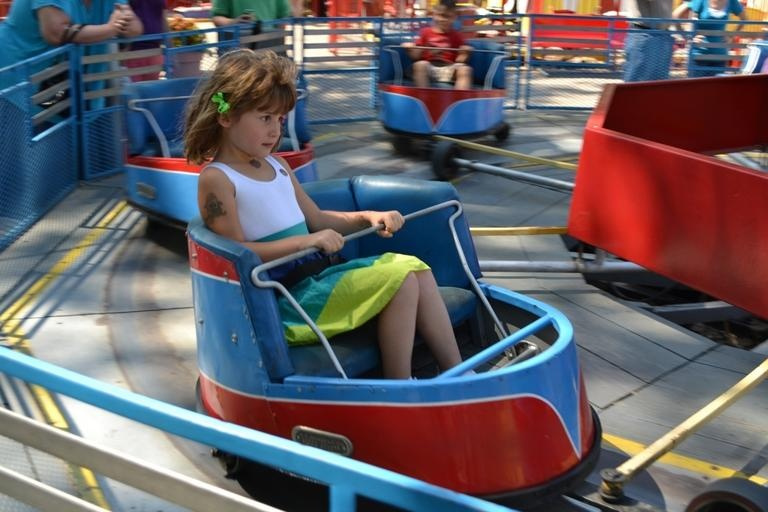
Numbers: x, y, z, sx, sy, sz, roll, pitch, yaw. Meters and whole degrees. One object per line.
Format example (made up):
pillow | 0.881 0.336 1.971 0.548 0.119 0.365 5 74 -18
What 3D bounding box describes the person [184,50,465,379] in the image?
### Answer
person | -0.277 -0.134 2.279 0.678 1.263 1.029 -23 33 -35
